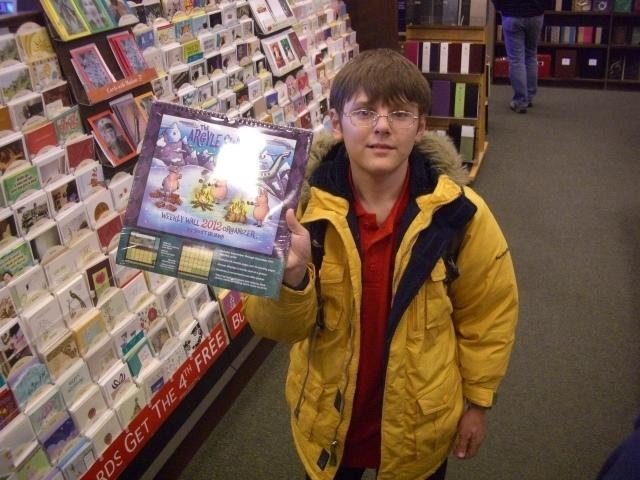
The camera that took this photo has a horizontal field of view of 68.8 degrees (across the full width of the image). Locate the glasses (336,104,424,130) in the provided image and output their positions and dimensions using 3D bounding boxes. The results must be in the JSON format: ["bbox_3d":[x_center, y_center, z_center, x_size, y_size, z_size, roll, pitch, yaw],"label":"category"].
[{"bbox_3d":[0.164,-0.338,1.284,0.199,0.058,0.063,-2,23,6],"label":"glasses"}]

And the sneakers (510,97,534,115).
[{"bbox_3d":[2.987,-2.027,6.986,0.173,0.162,0.399,-2,12,5],"label":"sneakers"}]
